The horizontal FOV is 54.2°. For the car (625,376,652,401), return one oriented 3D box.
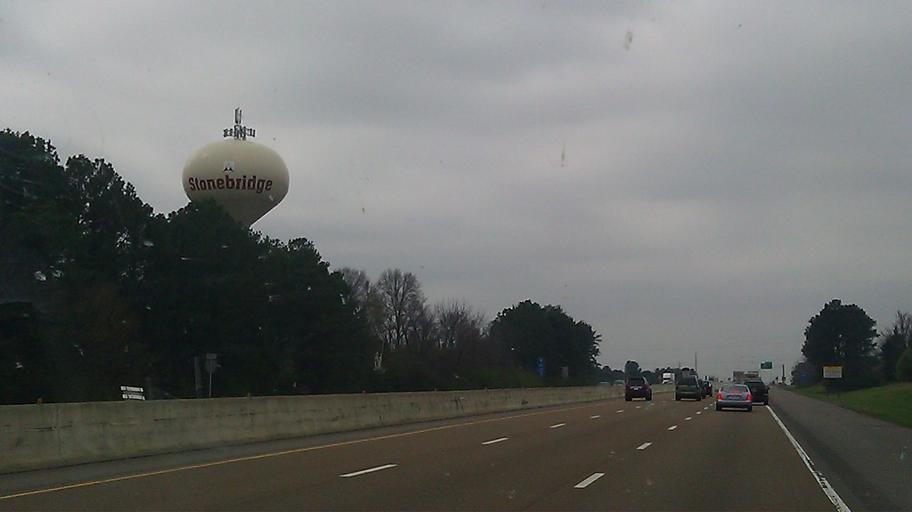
[{"bbox_3d":[17.359,12.878,85.732,2.234,2.096,1.575,-3,-10,1],"label":"car"}]
